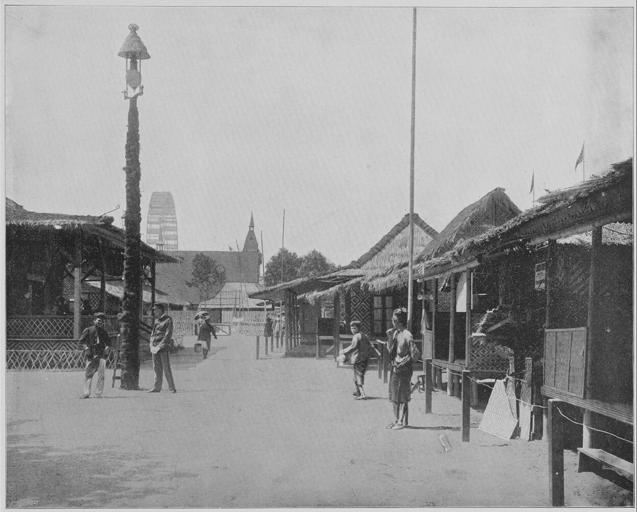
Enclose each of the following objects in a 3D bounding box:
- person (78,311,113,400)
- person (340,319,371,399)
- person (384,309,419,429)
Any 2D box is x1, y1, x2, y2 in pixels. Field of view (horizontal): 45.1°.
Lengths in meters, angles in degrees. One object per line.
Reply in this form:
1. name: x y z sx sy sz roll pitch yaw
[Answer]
1. person: -4.464 1.980 15.538 0.563 1.771 2.040 -1 5 -16
2. person: 0.783 2.159 15.777 0.577 1.662 1.448 1 5 4
3. person: 1.364 1.874 12.616 0.388 1.955 0.724 0 5 -1
